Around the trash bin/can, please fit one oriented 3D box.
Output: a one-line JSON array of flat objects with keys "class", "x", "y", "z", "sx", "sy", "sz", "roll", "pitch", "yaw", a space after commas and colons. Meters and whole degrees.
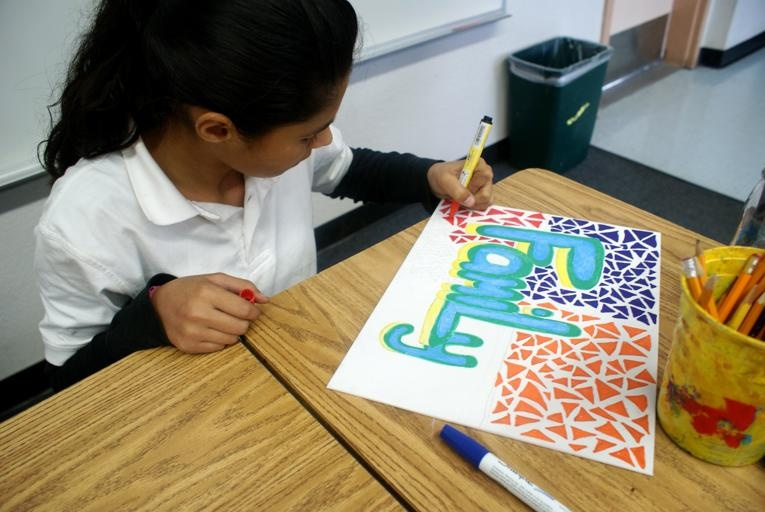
[{"class": "trash bin/can", "x": 0.800, "y": -0.699, "z": 2.488, "sx": 0.396, "sy": 0.540, "sz": 0.310, "roll": -35, "pitch": 45, "yaw": -23}]
